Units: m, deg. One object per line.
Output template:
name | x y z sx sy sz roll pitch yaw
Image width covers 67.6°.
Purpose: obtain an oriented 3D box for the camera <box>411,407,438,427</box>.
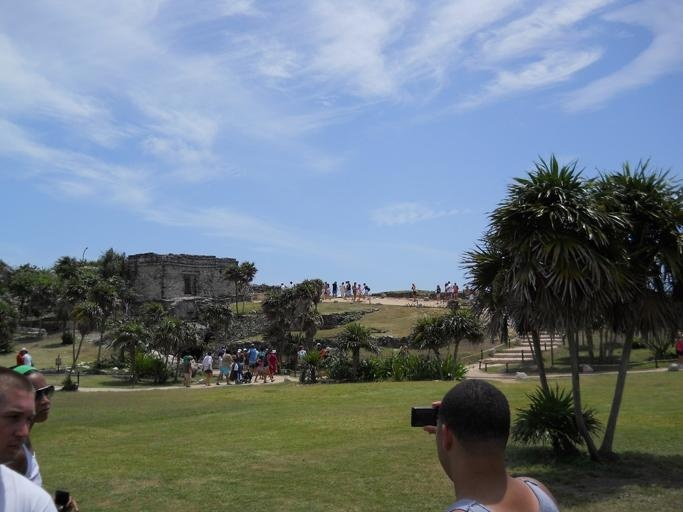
camera | 0.598 1.156 3.663 0.205 0.147 0.116 1 -1 0
